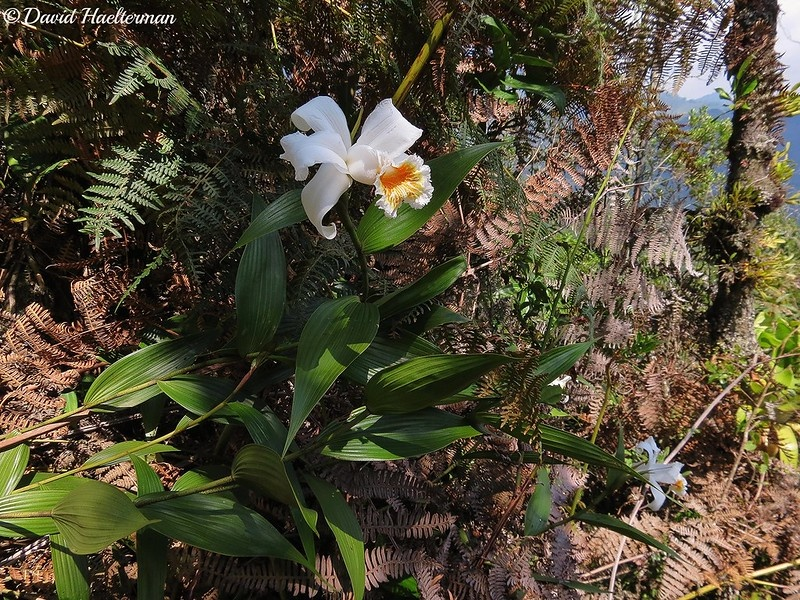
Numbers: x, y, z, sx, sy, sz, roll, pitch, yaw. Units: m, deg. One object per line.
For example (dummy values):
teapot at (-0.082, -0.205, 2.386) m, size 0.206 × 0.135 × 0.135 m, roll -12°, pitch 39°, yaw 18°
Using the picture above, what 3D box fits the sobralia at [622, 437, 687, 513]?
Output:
sobralia at (0.750, 0.530, 1.855) m, size 0.123 × 0.169 × 0.165 m, roll 36°, pitch -10°, yaw 12°

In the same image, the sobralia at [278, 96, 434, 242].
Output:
sobralia at (-0.109, -0.301, 1.458) m, size 0.300 × 0.335 × 0.143 m, roll -3°, pitch -10°, yaw -16°
